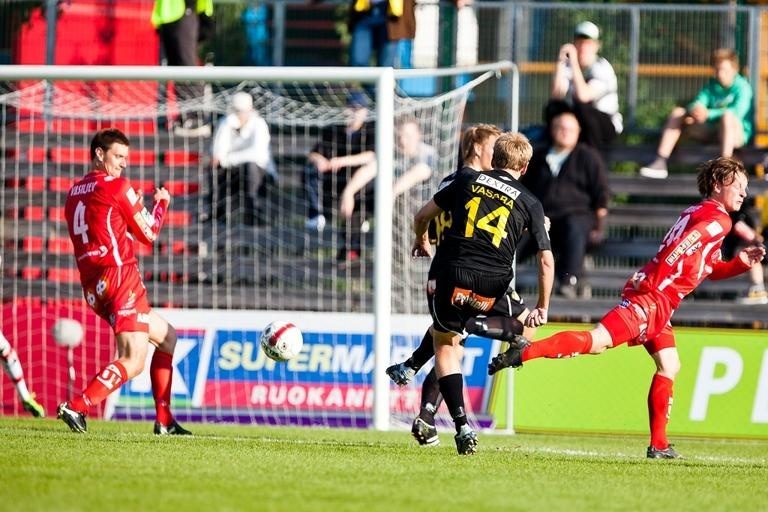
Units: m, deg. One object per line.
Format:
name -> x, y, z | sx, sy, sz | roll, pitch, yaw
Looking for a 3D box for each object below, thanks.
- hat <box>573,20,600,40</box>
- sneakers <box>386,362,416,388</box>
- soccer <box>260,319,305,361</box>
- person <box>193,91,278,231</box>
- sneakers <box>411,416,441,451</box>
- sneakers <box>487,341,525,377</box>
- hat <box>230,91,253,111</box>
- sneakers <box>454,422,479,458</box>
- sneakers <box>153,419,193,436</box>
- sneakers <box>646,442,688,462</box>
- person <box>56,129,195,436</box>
hat -> 2.865, -3.189, 19.428 | 0.338, 0.289, 0.608 | -3, 0, 10
sneakers -> 0.203, 1.350, 15.629 | 0.130, 0.226, 0.329 | -38, -14, 29
soccer -> -1.137, 1.002, 15.978 | 0.412, 0.438, 0.448 | 19, 33, -29
person -> -2.023, -1.471, 19.458 | 1.071, 1.604, 1.108 | -10, 26, -33
sneakers -> 0.484, 2.039, 15.404 | 0.167, 0.280, 0.541 | -10, -41, 35
sneakers -> 1.400, 1.116, 15.380 | 0.524, 0.182, 0.245 | -30, 39, 18
hat -> -1.954, -2.162, 19.200 | 0.227, 0.254, 0.253 | -1, 17, -9
sneakers -> 0.912, 2.043, 15.017 | 0.153, 0.428, 0.211 | -13, 52, -10
sneakers -> -2.416, 1.998, 15.903 | 0.452, 0.233, 0.177 | 4, -4, -15
sneakers -> 3.233, 2.253, 15.759 | 0.442, 0.237, 0.174 | 2, -3, -19
person -> -2.979, 0.314, 15.591 | 1.286, 3.470, 0.671 | 0, 8, -12
